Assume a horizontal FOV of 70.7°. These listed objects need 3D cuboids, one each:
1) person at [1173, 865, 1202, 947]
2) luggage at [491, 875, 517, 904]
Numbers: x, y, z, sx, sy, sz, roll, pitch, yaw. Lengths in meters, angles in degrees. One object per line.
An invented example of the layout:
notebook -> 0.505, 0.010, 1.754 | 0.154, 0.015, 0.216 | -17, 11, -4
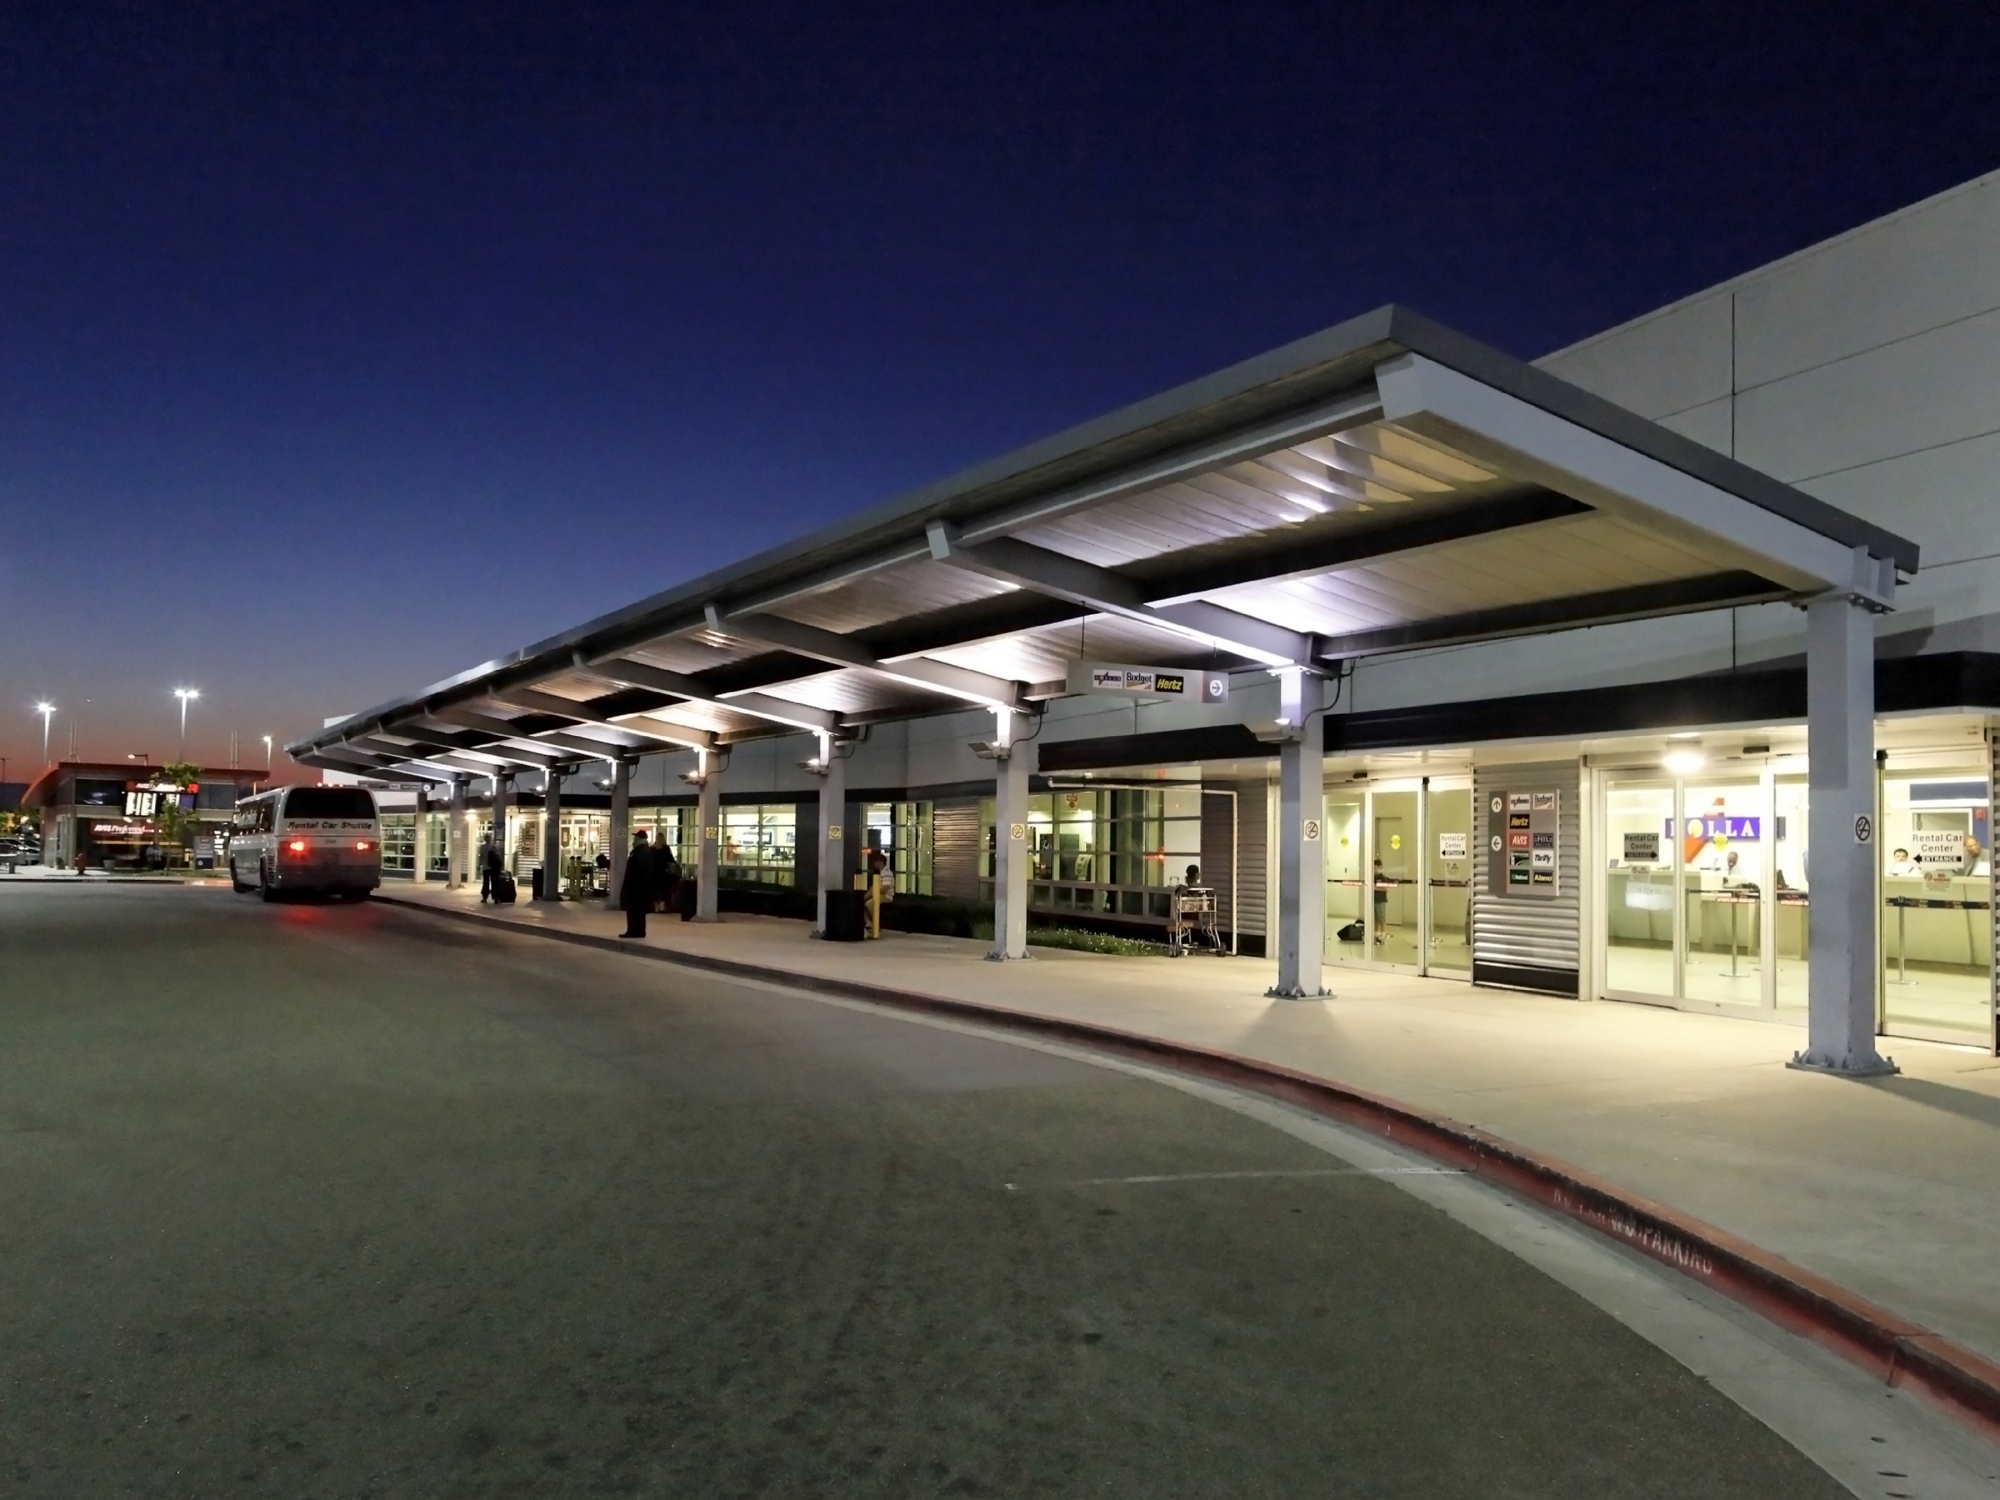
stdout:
person -> 3.092, 2.574, 22.967 | 0.511, 1.183, 0.672 | 4, -20, 0
luggage -> -11.890, 3.279, 33.818 | 0.479, 0.680, 0.640 | 0, 1, -30
